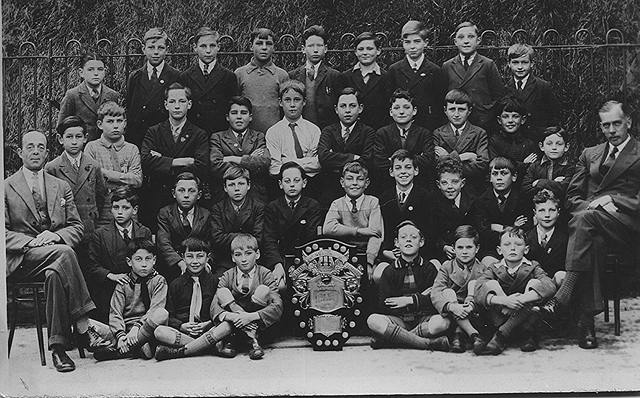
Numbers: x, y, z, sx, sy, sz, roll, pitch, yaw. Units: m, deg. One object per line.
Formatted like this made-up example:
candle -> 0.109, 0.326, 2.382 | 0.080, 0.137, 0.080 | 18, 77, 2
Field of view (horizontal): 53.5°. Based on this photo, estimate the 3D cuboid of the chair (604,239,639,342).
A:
chair -> 4.220, 1.243, 9.055 | 0.418, 1.349, 0.513 | 7, 14, 28

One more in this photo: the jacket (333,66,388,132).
jacket -> 0.577, -1.419, 9.273 | 1.023, 1.269, 0.558 | 1, -1, 0

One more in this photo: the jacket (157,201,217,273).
jacket -> -1.903, 0.462, 9.117 | 0.864, 0.341, 1.067 | -12, 51, -21

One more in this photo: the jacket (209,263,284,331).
jacket -> -1.039, 1.367, 8.943 | 0.976, 0.693, 0.996 | 14, 30, 36

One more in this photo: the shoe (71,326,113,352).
shoe -> -3.267, 1.954, 9.079 | 0.697, 0.283, 0.266 | 7, 20, 24

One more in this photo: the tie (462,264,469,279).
tie -> 2.058, 1.022, 8.946 | 0.113, 0.135, 0.046 | 1, 0, -1

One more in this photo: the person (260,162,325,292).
person -> -0.411, 0.379, 9.035 | 0.721, 1.711, 0.667 | -12, 17, -43

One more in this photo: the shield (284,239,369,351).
shield -> 0.100, 1.372, 8.873 | 1.615, 1.937, 0.332 | -1, -3, -1

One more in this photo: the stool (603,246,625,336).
stool -> 4.157, 1.290, 9.014 | 0.283, 1.190, 0.330 | 6, 14, 23

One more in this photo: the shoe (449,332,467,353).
shoe -> 1.936, 2.002, 8.904 | 0.216, 0.269, 0.113 | 2, 13, 9

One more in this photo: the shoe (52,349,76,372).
shoe -> -3.606, 2.253, 8.917 | 0.322, 0.274, 0.169 | 9, 15, 36

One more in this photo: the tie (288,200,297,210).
tie -> -0.402, 0.089, 9.085 | 0.099, 0.124, 0.031 | 6, -4, 0

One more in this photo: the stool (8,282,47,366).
stool -> -4.135, 1.742, 9.084 | 0.663, 1.094, 0.378 | 4, 13, 16

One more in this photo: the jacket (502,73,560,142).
jacket -> 3.013, -1.199, 9.354 | 1.002, 1.227, 0.477 | 0, -12, 4

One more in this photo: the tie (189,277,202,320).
tie -> -1.750, 1.394, 8.975 | 0.165, 0.565, 0.193 | 1, 13, 4

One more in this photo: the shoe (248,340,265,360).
shoe -> -0.874, 2.090, 8.732 | 0.136, 0.130, 0.299 | -2, -3, -11

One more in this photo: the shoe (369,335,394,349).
shoe -> 0.829, 2.001, 8.914 | 0.391, 0.161, 0.138 | -2, 6, -4

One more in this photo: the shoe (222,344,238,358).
shoe -> -1.267, 2.117, 8.884 | 0.126, 0.102, 0.238 | 7, 8, -10

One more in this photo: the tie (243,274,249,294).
tie -> -1.048, 1.183, 8.955 | 0.080, 0.255, 0.101 | 0, 12, -3

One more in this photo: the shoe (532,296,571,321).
shoe -> 3.261, 1.534, 8.932 | 0.546, 0.310, 0.101 | -1, 13, -6

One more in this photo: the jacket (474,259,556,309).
jacket -> 2.787, 1.151, 9.167 | 1.261, 0.434, 1.218 | 5, 20, 29

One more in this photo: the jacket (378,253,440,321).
jacket -> 1.293, 1.264, 9.026 | 0.902, 0.873, 0.516 | -5, 19, -6

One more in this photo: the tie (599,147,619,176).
tie -> 4.124, -0.539, 9.139 | 0.087, 0.306, 0.229 | 20, 2, 20

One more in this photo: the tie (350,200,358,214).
tie -> 0.476, 0.116, 9.062 | 0.122, 0.183, 0.016 | -1, -10, 0
